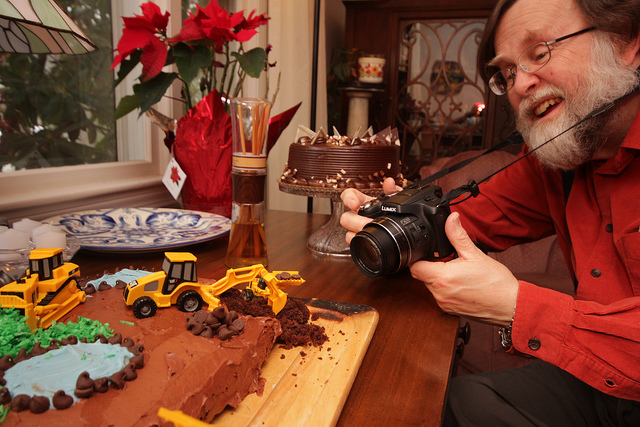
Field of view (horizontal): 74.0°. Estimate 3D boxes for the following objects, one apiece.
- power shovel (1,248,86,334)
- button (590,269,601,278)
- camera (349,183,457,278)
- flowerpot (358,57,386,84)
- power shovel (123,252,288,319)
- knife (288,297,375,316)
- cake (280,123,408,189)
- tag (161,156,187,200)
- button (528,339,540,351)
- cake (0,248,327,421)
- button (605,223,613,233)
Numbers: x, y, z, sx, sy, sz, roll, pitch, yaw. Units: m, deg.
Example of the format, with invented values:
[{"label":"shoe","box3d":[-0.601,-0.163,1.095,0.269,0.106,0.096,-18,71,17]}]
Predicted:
[{"label":"power shovel","box3d":[-0.534,0.144,0.829,0.111,0.102,0.157,1,5,13]},{"label":"button","box3d":[0.740,0.163,1.143,0.022,0.020,0.011,8,21,24]},{"label":"camera","box3d":[0.207,0.028,1.095,0.240,0.158,0.220,-26,21,-26]},{"label":"flowerpot","box3d":[0.357,-1.002,3.008,0.171,0.151,0.172,14,20,42]},{"label":"power shovel","box3d":[-0.243,0.152,0.988,0.379,0.153,0.147,2,7,-23]},{"label":"knife","box3d":[0.044,0.228,1.027,0.117,0.009,0.044,7,8,33]},{"label":"cake","box3d":[0.091,-0.171,1.458,0.307,0.235,0.380,8,11,10]},{"label":"tag","box3d":[-0.537,-0.124,1.566,0.011,0.159,0.133,-5,36,-36]},{"label":"button","box3d":[0.500,0.309,0.994,0.018,0.026,0.006,-1,-12,18]},{"label":"cake","box3d":[-0.324,0.242,0.788,0.401,0.114,0.391,1,7,-3]},{"label":"button","box3d":[0.789,0.041,1.160,0.010,0.023,0.023,3,20,13]}]
